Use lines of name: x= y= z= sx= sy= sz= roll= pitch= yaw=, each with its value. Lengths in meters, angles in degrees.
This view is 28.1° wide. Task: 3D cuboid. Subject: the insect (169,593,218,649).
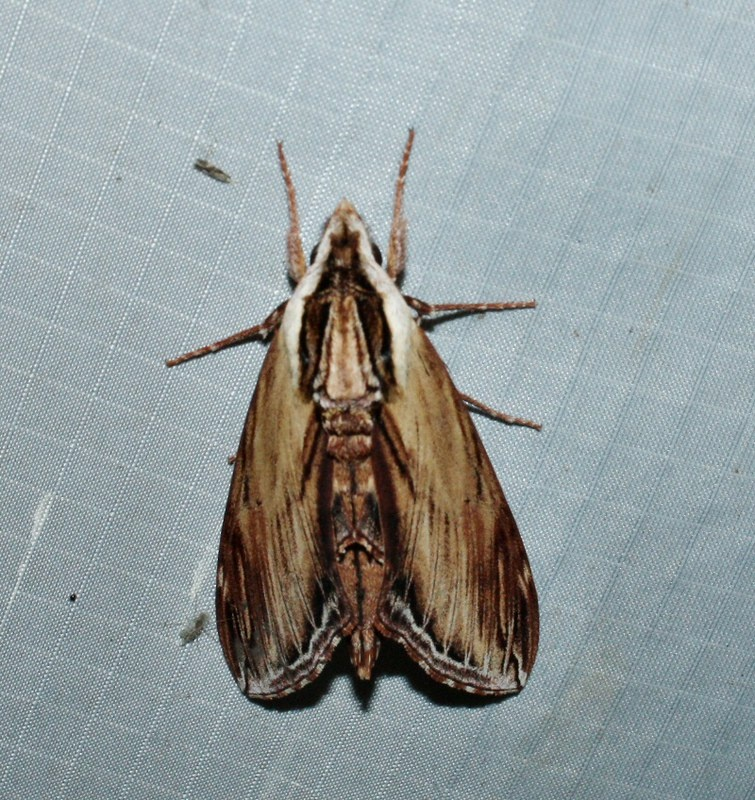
insect: x=-0.734 y=0.892 z=6.063 sx=0.115 sy=0.050 sz=0.199 roll=20 pitch=-90 yaw=11
